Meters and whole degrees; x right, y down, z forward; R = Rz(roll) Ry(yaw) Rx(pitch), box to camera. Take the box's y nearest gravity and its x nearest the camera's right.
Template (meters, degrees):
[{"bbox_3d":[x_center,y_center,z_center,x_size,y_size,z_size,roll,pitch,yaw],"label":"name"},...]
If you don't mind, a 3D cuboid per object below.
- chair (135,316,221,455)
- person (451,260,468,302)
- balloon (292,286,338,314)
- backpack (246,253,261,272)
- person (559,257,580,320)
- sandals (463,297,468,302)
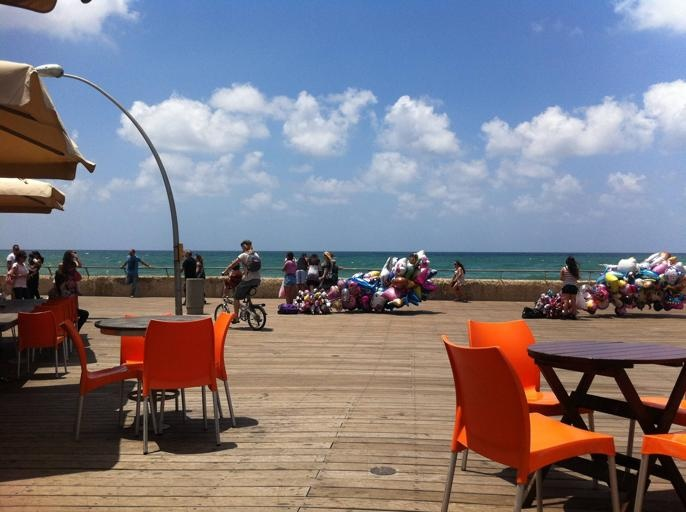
[{"bbox_3d":[-1.727,1.296,6.880,1.052,1.861,1.158,0,-2,-18],"label":"chair"},{"bbox_3d":[4.304,0.936,23.141,0.563,1.292,1.875,-3,-2,10],"label":"person"},{"bbox_3d":[-0.826,1.376,18.402,1.214,0.562,1.102,-3,-2,-3],"label":"balloon"},{"bbox_3d":[-2.054,0.157,14.323,0.281,0.422,0.405,1,-4,-24],"label":"backpack"},{"bbox_3d":[6.105,0.842,16.643,0.470,1.589,1.949,-4,-2,20],"label":"person"},{"bbox_3d":[4.618,1.639,23.229,0.195,0.208,0.110,1,5,8],"label":"sandals"}]
